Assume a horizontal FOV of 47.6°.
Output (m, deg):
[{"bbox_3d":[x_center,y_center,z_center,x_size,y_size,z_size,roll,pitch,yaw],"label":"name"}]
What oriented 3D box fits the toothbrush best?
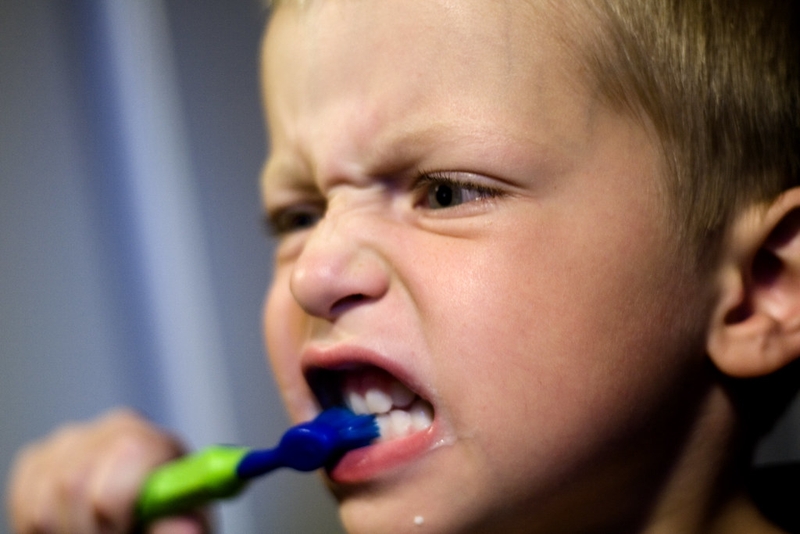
[{"bbox_3d":[-0.142,0.242,1.110,0.330,0.083,0.113,-21,10,11],"label":"toothbrush"}]
